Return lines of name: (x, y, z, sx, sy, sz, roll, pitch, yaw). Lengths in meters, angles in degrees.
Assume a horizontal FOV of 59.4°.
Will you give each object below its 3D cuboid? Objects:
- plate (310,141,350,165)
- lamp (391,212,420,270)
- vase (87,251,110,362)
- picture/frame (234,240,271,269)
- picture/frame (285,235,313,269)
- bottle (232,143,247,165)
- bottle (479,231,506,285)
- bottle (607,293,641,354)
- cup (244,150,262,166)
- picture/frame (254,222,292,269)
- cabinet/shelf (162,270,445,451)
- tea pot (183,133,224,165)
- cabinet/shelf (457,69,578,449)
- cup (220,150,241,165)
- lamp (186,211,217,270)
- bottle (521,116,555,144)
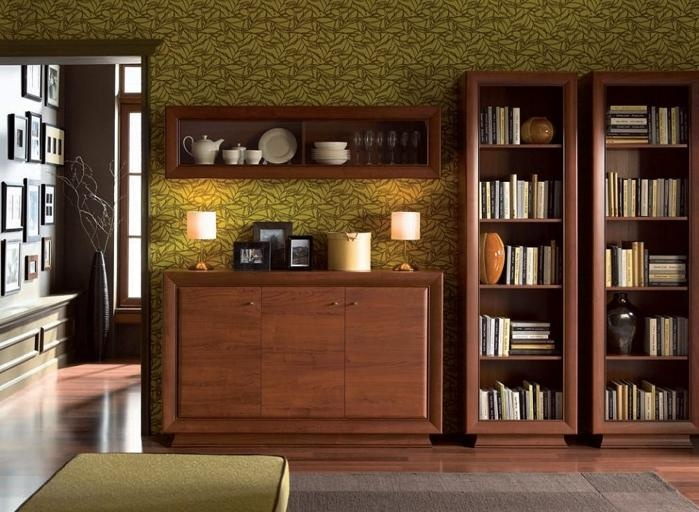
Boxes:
plate: (-0.131, -0.725, 4.325, 0.190, 0.104, 0.188, 0, 1, 16)
lamp: (0.404, -0.110, 4.391, 0.222, 0.427, 0.302, 1, 10, 3)
vase: (-2.599, 0.531, 6.303, 0.227, 1.142, 0.157, -5, 11, -24)
picture/frame: (-0.680, -0.005, 4.266, 0.199, 0.163, 0.021, 0, -4, -3)
picture/frame: (-0.354, -0.030, 4.374, 0.181, 0.231, 0.143, -1, 10, -7)
bottle: (-0.767, -0.722, 4.336, 0.132, 0.137, 0.084, -1, 2, 4)
bottle: (0.995, 0.018, 4.393, 0.265, 0.363, 0.268, 0, -1, 0)
bottle: (1.967, 0.486, 4.451, 0.274, 0.436, 0.282, 1, 0, 0)
cup: (-0.686, -0.702, 4.379, 0.114, 0.082, 0.107, -1, 3, 0)
picture/frame: (-0.555, -0.065, 4.378, 0.344, 0.411, 0.028, -1, -2, 2)
cabinet/shelf: (-0.307, 0.736, 4.490, 1.985, 1.185, 0.626, 0, -4, 5)
tea pot: (-1.051, -0.752, 4.323, 0.302, 0.192, 0.196, 0, -1, -5)
cabinet/shelf: (1.196, -0.024, 4.304, 0.796, 2.480, 0.499, 0, 10, 1)
cup: (-0.842, -0.703, 4.329, 0.120, 0.082, 0.109, 0, 4, 0)
lamp: (-1.053, -0.114, 4.391, 0.218, 0.418, 0.291, -3, 10, -15)
bottle: (1.323, -0.886, 4.325, 0.204, 0.182, 0.198, 0, -1, 1)
